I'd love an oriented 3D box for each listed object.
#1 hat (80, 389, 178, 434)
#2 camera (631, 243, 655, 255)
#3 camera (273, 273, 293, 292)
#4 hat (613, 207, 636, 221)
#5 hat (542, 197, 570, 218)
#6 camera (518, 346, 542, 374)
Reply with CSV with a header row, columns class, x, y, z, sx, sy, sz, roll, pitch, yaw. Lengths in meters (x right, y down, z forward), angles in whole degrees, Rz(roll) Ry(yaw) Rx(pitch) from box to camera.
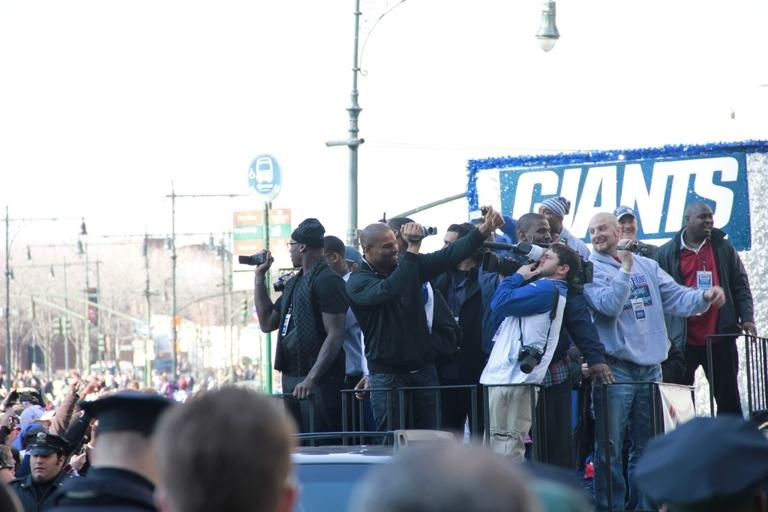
class,x,y,z,sx,sy,sz,roll,pitch,yaw
hat,-3.127,1.919,21.016,0.945,0.233,0.852,2,-12,-8
camera,3.882,-0.106,25.977,0.338,0.164,0.452,1,-1,35
camera,-1.551,0.418,26.261,0.306,0.146,0.285,-6,14,-8
hat,3.823,-0.707,27.549,0.368,0.244,0.570,0,-7,0
hat,2.771,-0.799,27.641,0.417,0.331,0.308,17,2,-30
camera,2.064,1.446,24.396,0.409,0.309,0.382,0,33,16
